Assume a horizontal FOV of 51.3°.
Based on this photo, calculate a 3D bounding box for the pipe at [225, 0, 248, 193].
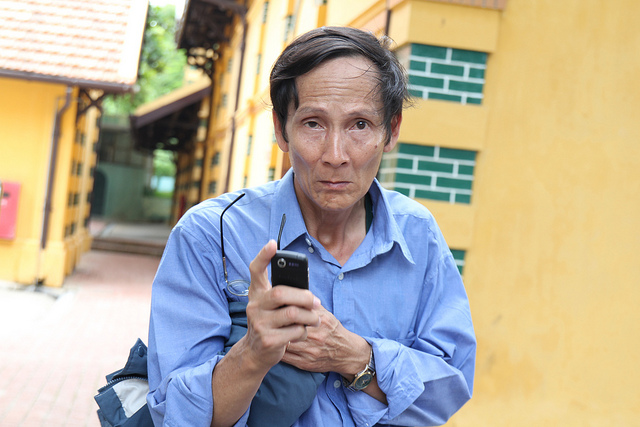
[{"bbox_3d":[-2.218,-3.232,18.076,0.325,5.259,1.659,4,8,-7],"label":"pipe"}]

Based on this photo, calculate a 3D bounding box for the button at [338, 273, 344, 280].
[{"bbox_3d":[0.133,0.379,3.987,0.035,0.037,0.012,3,9,-14],"label":"button"}]

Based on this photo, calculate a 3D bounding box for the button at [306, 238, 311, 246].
[{"bbox_3d":[-0.060,0.179,4.022,0.008,0.031,0.031,-35,14,-20],"label":"button"}]

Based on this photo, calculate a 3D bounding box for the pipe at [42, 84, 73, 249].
[{"bbox_3d":[-4.351,-0.751,11.106,0.392,2.762,0.317,3,9,-14],"label":"pipe"}]

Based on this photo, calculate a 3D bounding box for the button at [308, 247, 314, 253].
[{"bbox_3d":[-0.047,0.223,4.016,0.027,0.028,0.006,1,-20,-6],"label":"button"}]
